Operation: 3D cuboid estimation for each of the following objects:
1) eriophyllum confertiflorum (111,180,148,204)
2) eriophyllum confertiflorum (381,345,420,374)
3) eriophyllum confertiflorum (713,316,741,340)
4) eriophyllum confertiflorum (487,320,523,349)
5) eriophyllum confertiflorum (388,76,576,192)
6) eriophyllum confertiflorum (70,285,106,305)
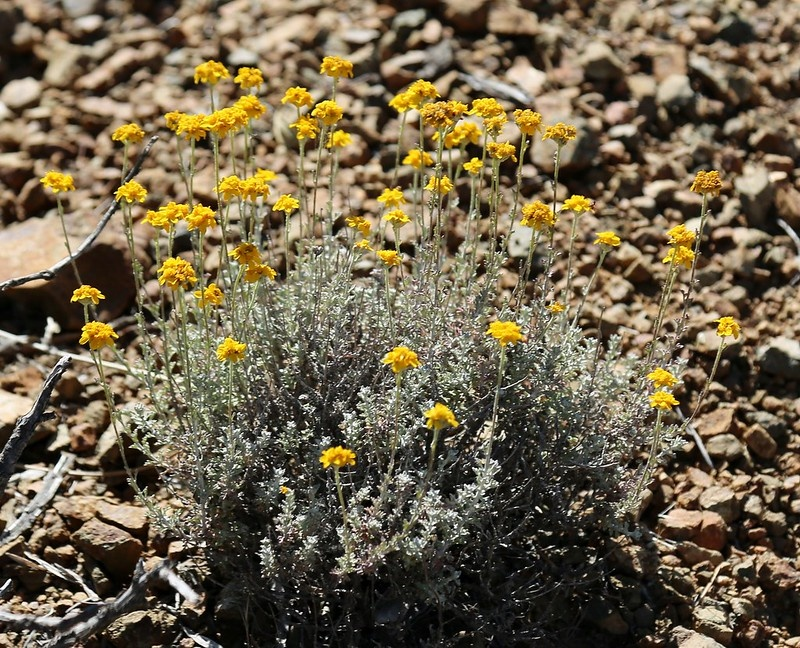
[{"bbox_3d":[-1.431,-0.687,5.292,0.139,0.143,0.212,1,21,-15],"label":"eriophyllum confertiflorum"},{"bbox_3d":[0.000,0.180,4.835,0.155,0.171,0.211,6,20,-3],"label":"eriophyllum confertiflorum"},{"bbox_3d":[1.948,0.029,5.953,0.161,0.061,0.125,5,57,-12],"label":"eriophyllum confertiflorum"},{"bbox_3d":[0.538,0.054,4.865,0.176,0.053,0.151,-7,35,-22],"label":"eriophyllum confertiflorum"},{"bbox_3d":[0.561,-1.260,6.840,1.636,0.757,0.591,4,40,-12],"label":"eriophyllum confertiflorum"},{"bbox_3d":[-1.627,-0.145,5.225,0.205,0.070,0.185,-4,15,-27],"label":"eriophyllum confertiflorum"}]
